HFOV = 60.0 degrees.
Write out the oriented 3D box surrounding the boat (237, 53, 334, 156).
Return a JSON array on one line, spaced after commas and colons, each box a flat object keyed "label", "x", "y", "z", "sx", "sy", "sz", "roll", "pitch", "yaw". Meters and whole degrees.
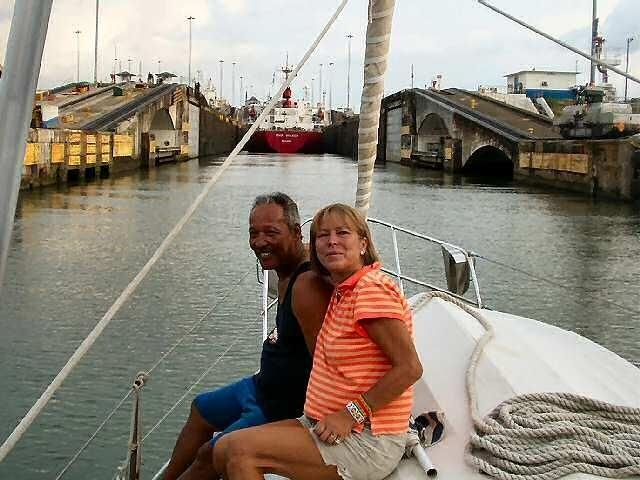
[{"label": "boat", "x": -2.808, "y": -12.268, "z": 58.330, "sx": 6.082, "sy": 9.110, "sz": 21.019, "roll": 1, "pitch": 6, "yaw": 1}]
